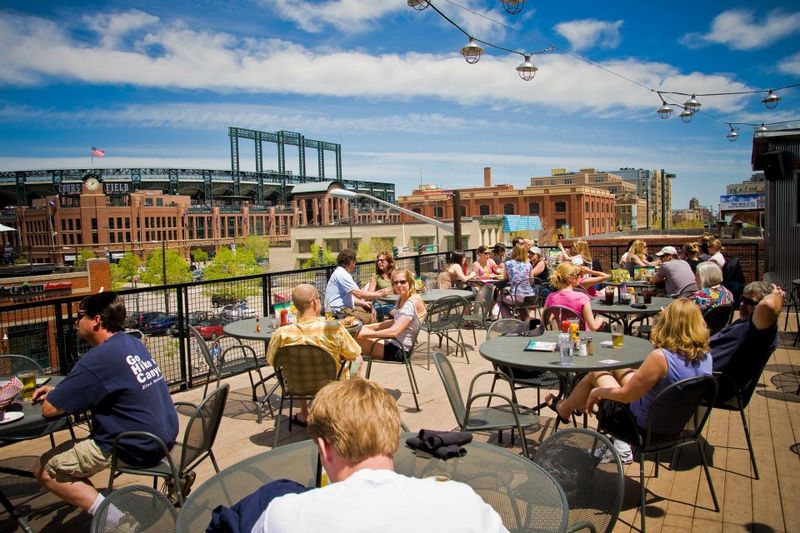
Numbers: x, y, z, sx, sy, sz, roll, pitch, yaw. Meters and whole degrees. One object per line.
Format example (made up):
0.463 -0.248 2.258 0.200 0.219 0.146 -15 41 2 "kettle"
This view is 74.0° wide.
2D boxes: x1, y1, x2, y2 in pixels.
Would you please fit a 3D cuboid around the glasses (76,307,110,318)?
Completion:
-3.028 0.460 5.198 0.186 0.052 0.178 1 -2 37 "glasses"

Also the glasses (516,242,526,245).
2.772 -0.536 12.221 0.164 0.045 0.158 -5 -3 30 "glasses"

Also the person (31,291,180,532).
-2.776 1.294 5.087 1.246 2.063 0.535 -1 5 0 "person"

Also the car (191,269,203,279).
-35.963 1.367 94.134 1.596 1.234 2.482 -1 -6 -10 "car"

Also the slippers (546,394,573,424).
1.884 1.716 6.435 0.193 0.462 0.127 -29 -37 9 "slippers"
